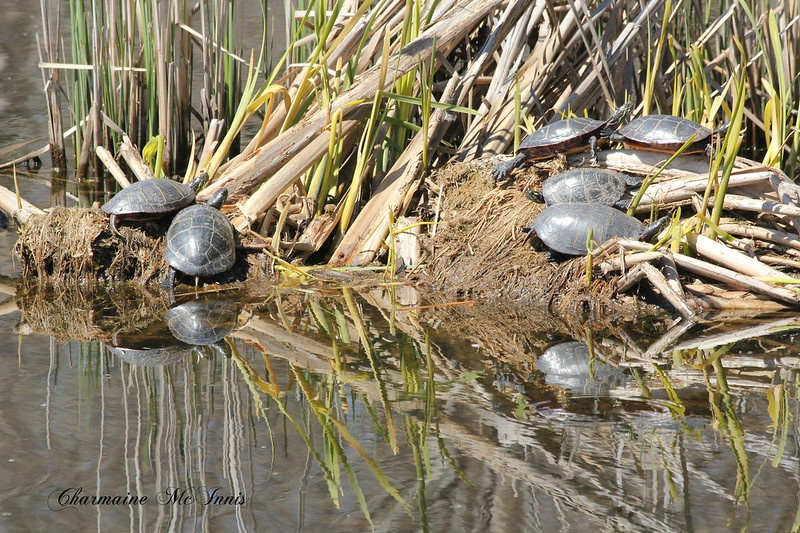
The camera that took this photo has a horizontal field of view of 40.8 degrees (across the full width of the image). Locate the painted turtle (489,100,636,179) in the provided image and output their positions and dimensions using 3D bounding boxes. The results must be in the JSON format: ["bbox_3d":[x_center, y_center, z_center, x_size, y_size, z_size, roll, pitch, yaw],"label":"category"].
[{"bbox_3d":[1.375,-1.082,9.069,1.011,0.277,0.561,-18,10,13],"label":"painted turtle"}]

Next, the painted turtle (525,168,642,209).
[{"bbox_3d":[1.545,-0.656,8.865,0.668,0.169,0.426,-1,18,8],"label":"painted turtle"}]
